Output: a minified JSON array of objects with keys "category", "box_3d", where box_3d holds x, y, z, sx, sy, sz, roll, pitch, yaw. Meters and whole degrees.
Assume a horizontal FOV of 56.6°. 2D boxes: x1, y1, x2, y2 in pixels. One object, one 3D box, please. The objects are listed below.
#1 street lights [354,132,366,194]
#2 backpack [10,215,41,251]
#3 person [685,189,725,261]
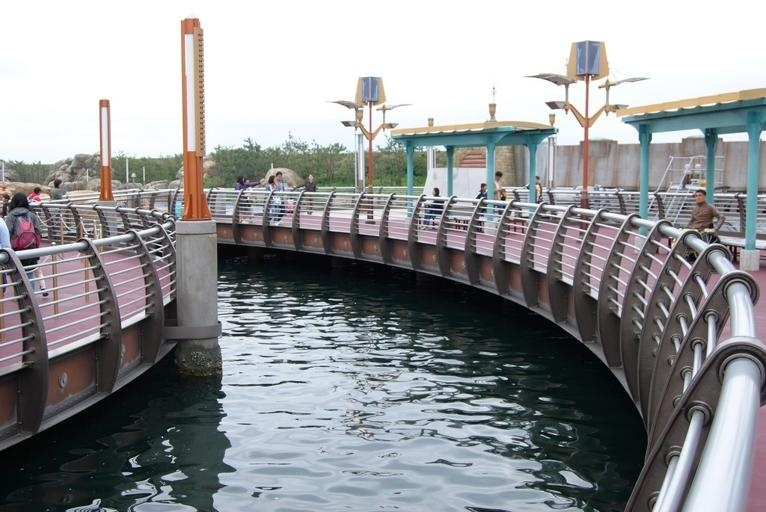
[{"category":"street lights","box_3d":[-0.854,-4.567,32.164,0.638,3.417,0.620,5,-28,-9]},{"category":"backpack","box_3d":[-6.576,-0.448,13.092,0.478,0.623,0.347,-7,10,-39]},{"category":"person","box_3d":[6.815,-0.441,15.124,0.583,1.909,0.717,9,-9,-39]}]
